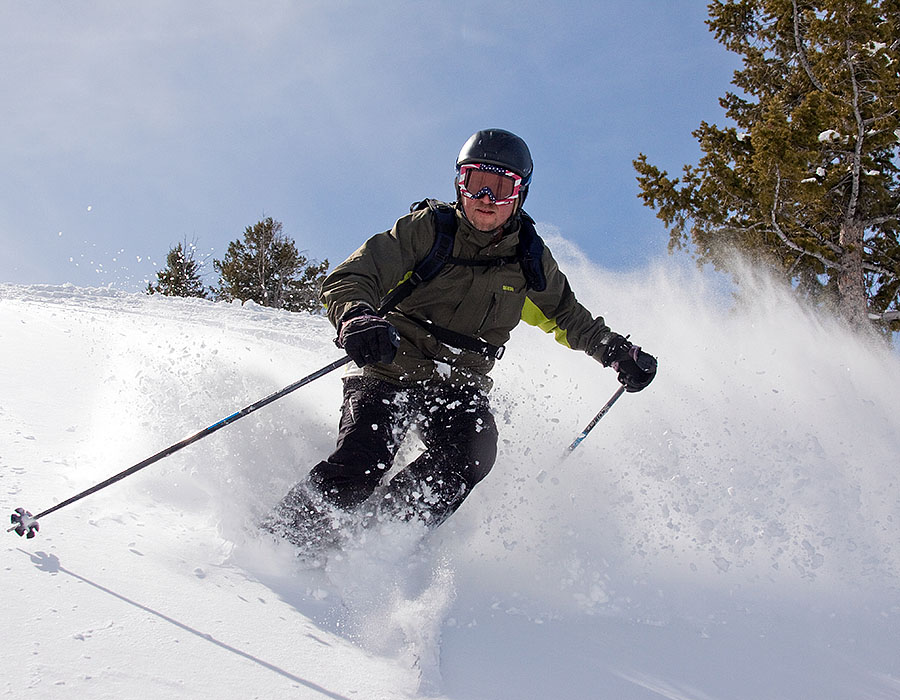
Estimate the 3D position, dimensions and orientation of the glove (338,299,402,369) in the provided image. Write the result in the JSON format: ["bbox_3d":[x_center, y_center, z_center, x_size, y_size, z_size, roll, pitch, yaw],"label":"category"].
[{"bbox_3d":[-0.619,-0.110,6.624,0.486,0.468,0.322,21,-2,0],"label":"glove"}]

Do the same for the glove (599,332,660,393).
[{"bbox_3d":[1.533,0.105,7.780,0.565,0.368,0.245,46,-11,12],"label":"glove"}]
